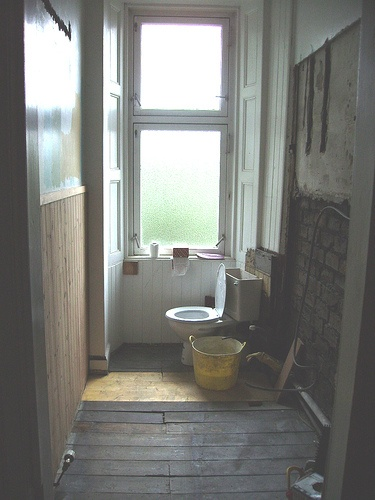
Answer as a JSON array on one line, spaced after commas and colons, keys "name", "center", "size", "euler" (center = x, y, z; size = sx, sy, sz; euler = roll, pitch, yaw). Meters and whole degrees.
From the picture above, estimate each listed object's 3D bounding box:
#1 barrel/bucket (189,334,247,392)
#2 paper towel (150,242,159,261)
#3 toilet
[{"name": "barrel/bucket", "center": [0.224, 0.866, 2.845], "size": [0.404, 0.327, 0.403], "euler": [1, 6, 0]}, {"name": "paper towel", "center": [-0.311, 0.010, 3.521], "size": [0.082, 0.149, 0.084], "euler": [0, 5, -9]}, {"name": "toilet", "center": [0.183, 0.569, 3.210], "size": [0.620, 0.987, 0.410], "euler": [3, 5, -7]}]
